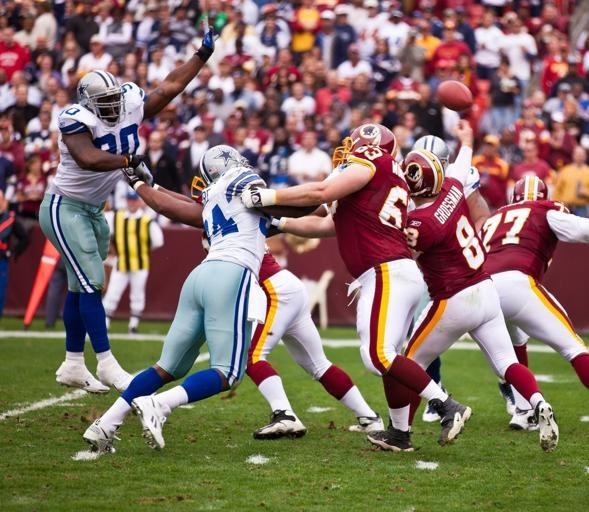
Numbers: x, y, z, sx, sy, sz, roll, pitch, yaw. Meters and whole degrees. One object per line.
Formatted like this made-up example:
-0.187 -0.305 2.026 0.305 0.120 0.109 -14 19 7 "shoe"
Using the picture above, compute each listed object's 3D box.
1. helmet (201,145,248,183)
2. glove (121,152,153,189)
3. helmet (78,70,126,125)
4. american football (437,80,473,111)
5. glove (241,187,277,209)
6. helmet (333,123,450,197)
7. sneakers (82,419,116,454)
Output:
-0.430 -0.532 4.875 0.243 0.225 0.191 -2 37 44 "helmet"
-0.934 -0.505 4.942 0.153 0.215 0.088 -25 5 -5 "glove"
-1.194 -1.021 5.242 0.243 0.305 0.316 -21 45 -41 "helmet"
1.068 -1.066 5.611 0.228 0.149 0.164 31 44 24 "american football"
-0.205 -0.320 4.583 0.160 0.101 0.070 5 8 20 "glove"
0.563 -0.634 5.013 0.546 0.315 0.351 24 13 -8 "helmet"
-1.085 0.995 4.621 0.166 0.220 0.246 1 2 -13 "sneakers"
